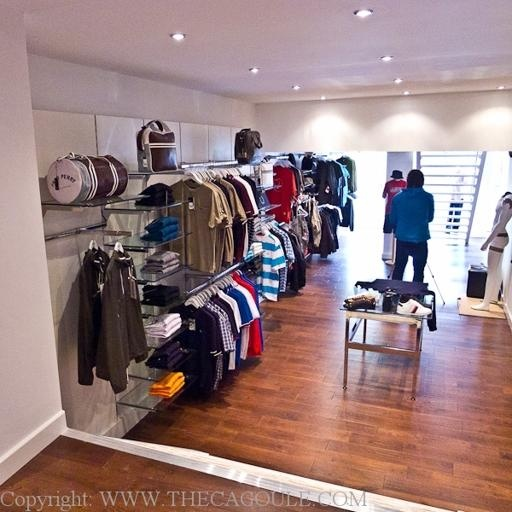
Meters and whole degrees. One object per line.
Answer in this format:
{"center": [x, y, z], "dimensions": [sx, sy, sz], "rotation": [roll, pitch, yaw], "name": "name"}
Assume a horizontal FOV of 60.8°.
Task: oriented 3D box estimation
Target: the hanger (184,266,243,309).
{"center": [-0.389, 0.298, 4.116], "dimensions": [0.175, 0.242, 0.698], "rotation": [-5, 16, 22], "name": "hanger"}

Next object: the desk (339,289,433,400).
{"center": [1.322, 0.743, 4.350], "dimensions": [0.773, 0.827, 1.013], "rotation": [3, 19, 18], "name": "desk"}

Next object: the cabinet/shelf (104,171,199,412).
{"center": [-0.803, 0.235, 3.586], "dimensions": [0.524, 1.760, 1.475], "rotation": [1, 14, 9], "name": "cabinet/shelf"}

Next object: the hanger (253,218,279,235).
{"center": [0.101, -0.379, 5.518], "dimensions": [0.254, 0.082, 0.185], "rotation": [8, 20, 26], "name": "hanger"}

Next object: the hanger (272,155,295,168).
{"center": [0.415, -1.474, 6.775], "dimensions": [0.292, 0.131, 0.409], "rotation": [-9, 21, -31], "name": "hanger"}

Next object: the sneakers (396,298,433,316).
{"center": [1.374, 0.436, 3.813], "dimensions": [0.243, 0.110, 0.132], "rotation": [0, 6, 12], "name": "sneakers"}

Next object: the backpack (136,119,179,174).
{"center": [-0.753, -0.826, 3.410], "dimensions": [0.148, 0.331, 0.342], "rotation": [9, 17, 37], "name": "backpack"}

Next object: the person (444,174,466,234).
{"center": [4.481, -1.328, 9.830], "dimensions": [0.414, 1.950, 0.190], "rotation": [17, 59, 36], "name": "person"}

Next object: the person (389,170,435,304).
{"center": [2.102, -0.389, 5.929], "dimensions": [0.547, 1.541, 0.329], "rotation": [3, 14, 17], "name": "person"}

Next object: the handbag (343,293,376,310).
{"center": [0.946, 0.413, 3.978], "dimensions": [0.286, 0.113, 0.206], "rotation": [2, 14, 13], "name": "handbag"}
